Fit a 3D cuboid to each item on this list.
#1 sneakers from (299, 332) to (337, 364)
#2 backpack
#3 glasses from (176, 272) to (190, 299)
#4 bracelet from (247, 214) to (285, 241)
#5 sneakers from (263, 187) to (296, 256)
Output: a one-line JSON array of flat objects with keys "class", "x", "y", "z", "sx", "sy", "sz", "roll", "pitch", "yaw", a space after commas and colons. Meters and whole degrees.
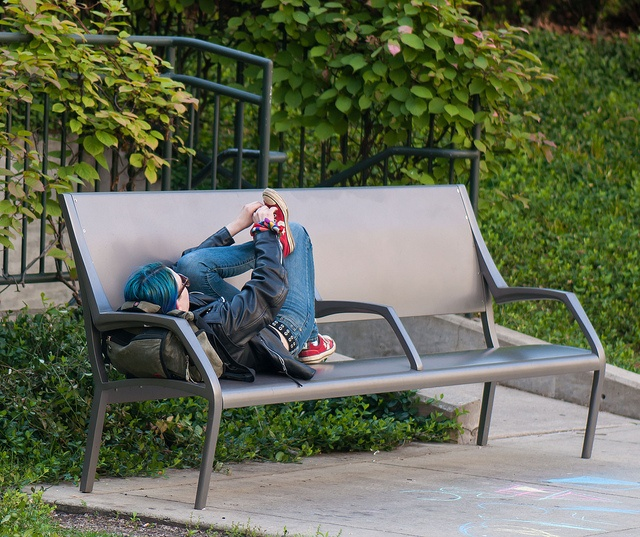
[{"class": "sneakers", "x": 0.000, "y": 0.407, "z": 5.661, "sx": 0.087, "sy": 0.106, "sz": 0.242, "roll": 4, "pitch": 17, "yaw": 34}, {"class": "backpack", "x": -0.661, "y": 0.356, "z": 5.064, "sx": 0.524, "sy": 0.254, "sz": 0.390, "roll": 7, "pitch": 0, "yaw": -6}, {"class": "glasses", "x": -0.628, "y": 0.070, "z": 5.213, "sx": 0.025, "sy": 0.090, "sz": 0.087, "roll": 3, "pitch": 6, "yaw": -22}, {"class": "bracelet", "x": -0.242, "y": -0.207, "z": 5.353, "sx": 0.207, "sy": 0.073, "sz": 0.092, "roll": -2, "pitch": -5, "yaw": -4}, {"class": "sneakers", "x": -0.184, "y": -0.246, "z": 5.451, "sx": 0.136, "sy": 0.359, "sz": 0.117, "roll": -23, "pitch": 16, "yaw": -31}]
